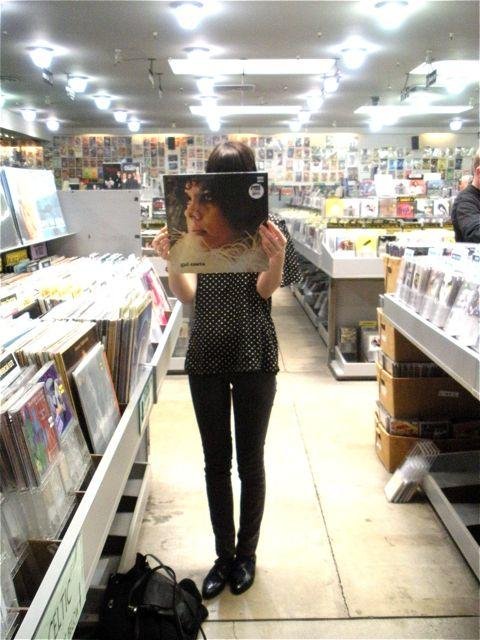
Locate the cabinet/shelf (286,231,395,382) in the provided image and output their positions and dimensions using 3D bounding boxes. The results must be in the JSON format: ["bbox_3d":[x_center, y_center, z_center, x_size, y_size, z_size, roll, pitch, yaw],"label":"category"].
[{"bbox_3d":[1.005,-0.111,4.227,0.487,0.654,1.730,0,12,-1],"label":"cabinet/shelf"}]

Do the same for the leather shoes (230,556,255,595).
[{"bbox_3d":[0.009,0.955,1.586,0.048,0.061,0.148,-1,5,4],"label":"leather shoes"}]

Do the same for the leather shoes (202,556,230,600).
[{"bbox_3d":[-0.081,0.960,1.583,0.053,0.069,0.167,1,4,16],"label":"leather shoes"}]
